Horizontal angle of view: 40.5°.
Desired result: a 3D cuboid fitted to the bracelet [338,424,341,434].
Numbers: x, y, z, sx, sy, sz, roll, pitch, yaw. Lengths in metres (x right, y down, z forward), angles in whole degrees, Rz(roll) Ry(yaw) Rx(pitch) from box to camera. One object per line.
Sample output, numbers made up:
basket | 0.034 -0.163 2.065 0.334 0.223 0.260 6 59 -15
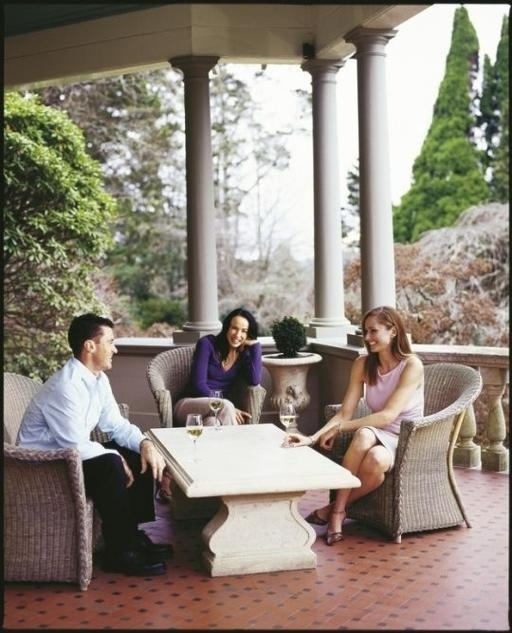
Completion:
bracelet | 0.459 0.620 3.818 0.012 0.043 0.045 4 -9 -3

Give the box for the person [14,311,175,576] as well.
person | -0.766 0.586 3.285 0.687 1.176 0.714 -1 6 -19

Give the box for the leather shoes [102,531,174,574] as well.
leather shoes | -0.563 1.097 3.195 0.264 0.091 0.200 0 5 8

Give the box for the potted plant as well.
potted plant | 0.269 0.473 5.896 0.579 0.950 0.577 -1 4 42
